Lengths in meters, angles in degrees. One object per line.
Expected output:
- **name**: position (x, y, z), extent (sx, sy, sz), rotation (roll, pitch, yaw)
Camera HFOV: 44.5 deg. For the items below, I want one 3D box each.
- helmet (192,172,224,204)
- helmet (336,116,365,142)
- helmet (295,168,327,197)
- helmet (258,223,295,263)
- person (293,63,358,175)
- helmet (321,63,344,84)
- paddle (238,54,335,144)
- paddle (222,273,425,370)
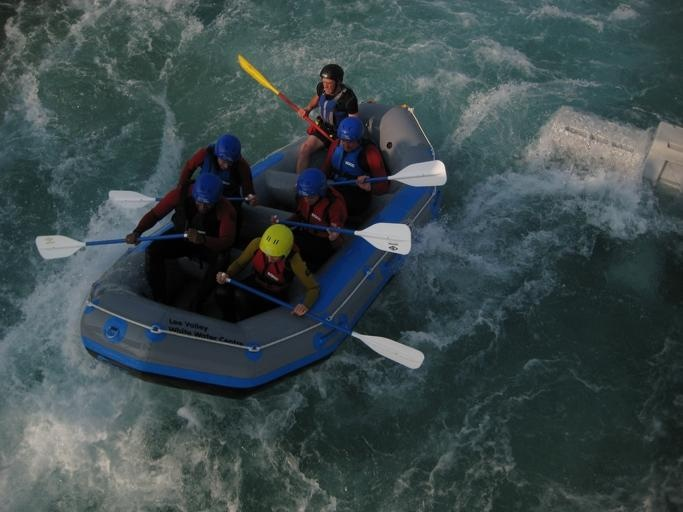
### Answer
- **helmet**: position (-1.719, -0.882, 10.610), extent (0.291, 0.406, 0.324), rotation (25, 99, -18)
- **helmet**: position (0.126, -1.798, 11.332), extent (0.249, 0.372, 0.269), rotation (5, 31, 8)
- **helmet**: position (-0.395, -0.952, 10.712), extent (0.277, 0.308, 0.390), rotation (2, 39, 2)
- **helmet**: position (-0.803, -0.168, 10.343), extent (0.426, 0.238, 0.381), rotation (-36, 74, -11)
- **person**: position (-0.300, -1.974, 12.215), extent (0.918, 1.749, 0.783), rotation (-7, 40, -13)
- **helmet**: position (-0.141, -2.599, 11.864), extent (0.290, 0.281, 0.279), rotation (11, 71, 5)
- **paddle**: position (-0.926, -2.480, 13.476), extent (0.322, 0.137, 2.699), rotation (-46, 74, 14)
- **paddle**: position (-0.337, 0.884, 10.820), extent (2.831, 0.151, 0.345), rotation (24, 80, 1)
